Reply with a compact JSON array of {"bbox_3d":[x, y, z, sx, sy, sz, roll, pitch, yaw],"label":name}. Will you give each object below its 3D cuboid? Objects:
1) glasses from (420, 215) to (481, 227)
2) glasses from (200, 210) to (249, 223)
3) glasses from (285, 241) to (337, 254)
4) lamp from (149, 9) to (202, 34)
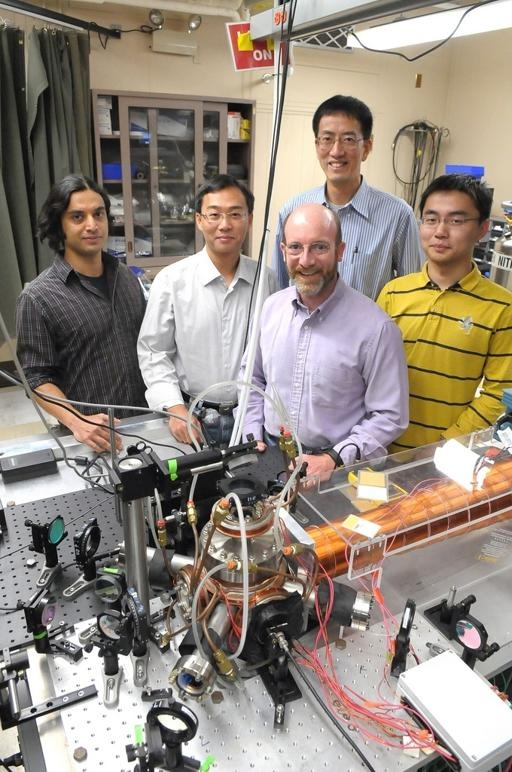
[{"bbox_3d":[0.613,-0.527,1.737,0.168,0.044,0.071,12,26,19],"label":"glasses"},{"bbox_3d":[-0.123,-0.613,1.978,0.150,0.044,0.058,0,24,-5],"label":"glasses"},{"bbox_3d":[0.155,-0.385,1.519,0.144,0.047,0.060,2,24,-2],"label":"glasses"},{"bbox_3d":[-0.663,-2.874,4.305,0.403,0.127,0.437,-2,25,-10],"label":"lamp"}]
